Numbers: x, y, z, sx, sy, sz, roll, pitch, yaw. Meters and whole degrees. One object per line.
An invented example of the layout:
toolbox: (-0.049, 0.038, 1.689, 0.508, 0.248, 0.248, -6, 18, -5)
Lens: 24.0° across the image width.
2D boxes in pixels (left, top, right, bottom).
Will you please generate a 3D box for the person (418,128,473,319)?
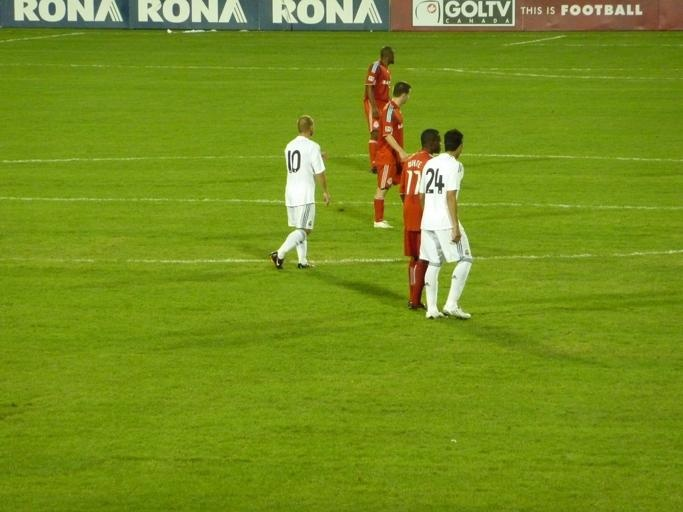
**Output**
person: (1.583, -0.478, 23.756, 0.825, 2.761, 0.472, 3, 10, 18)

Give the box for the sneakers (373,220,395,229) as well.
sneakers: (0.747, -0.587, 28.011, 0.273, 0.096, 0.143, 2, 17, 13)

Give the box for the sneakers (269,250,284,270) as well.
sneakers: (-1.013, 0.016, 25.736, 0.191, 0.348, 0.128, -9, 12, -7)
